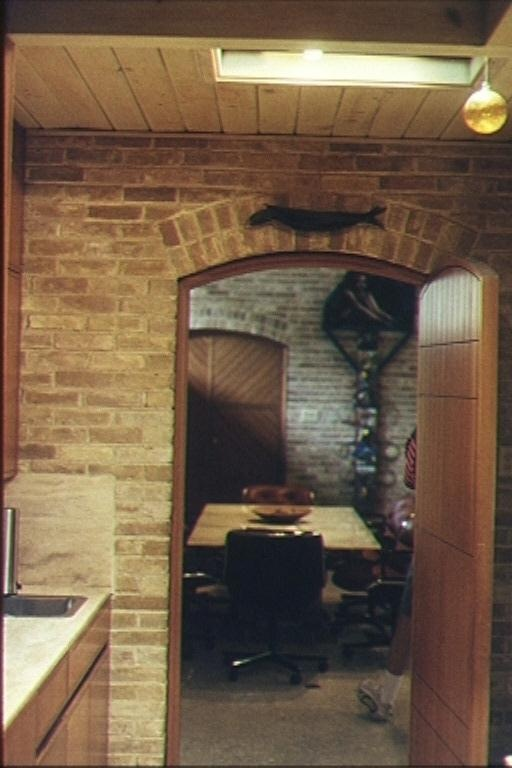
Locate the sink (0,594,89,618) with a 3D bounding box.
[{"bbox_3d":[-0.731,0.753,2.809,0.244,0.087,0.188,2,-2,1],"label":"sink"}]
